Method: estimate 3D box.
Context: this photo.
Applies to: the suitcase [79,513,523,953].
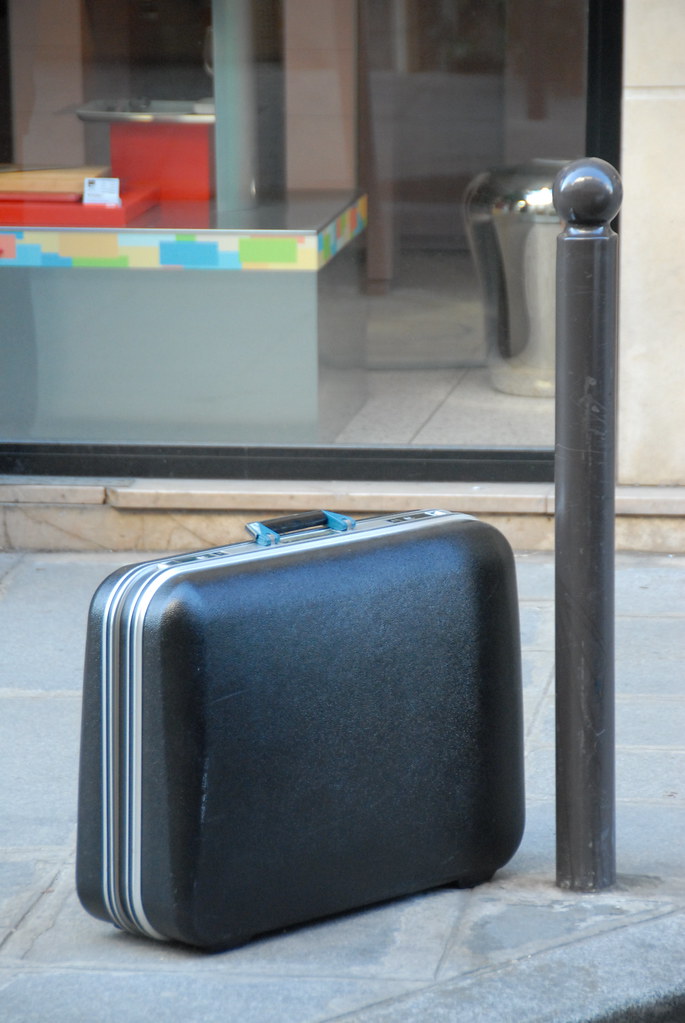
[{"bbox_3d":[-0.051,0.311,1.785,0.259,0.524,0.700,4,6,42],"label":"suitcase"}]
